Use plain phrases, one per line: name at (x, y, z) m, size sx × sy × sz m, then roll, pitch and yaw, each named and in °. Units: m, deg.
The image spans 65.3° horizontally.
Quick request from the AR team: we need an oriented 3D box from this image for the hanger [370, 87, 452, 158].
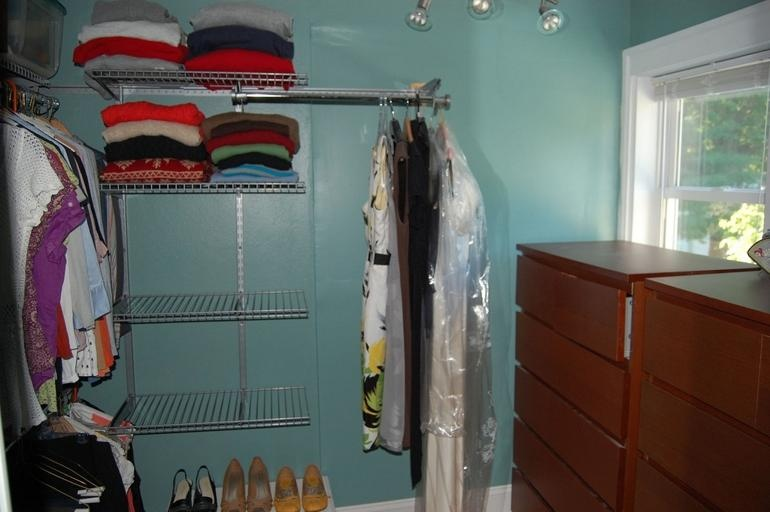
hanger at (0.120, -0.636, 2.919) m, size 0.368 × 0.165 × 0.486 m, roll 0°, pitch 3°, yaw -5°
